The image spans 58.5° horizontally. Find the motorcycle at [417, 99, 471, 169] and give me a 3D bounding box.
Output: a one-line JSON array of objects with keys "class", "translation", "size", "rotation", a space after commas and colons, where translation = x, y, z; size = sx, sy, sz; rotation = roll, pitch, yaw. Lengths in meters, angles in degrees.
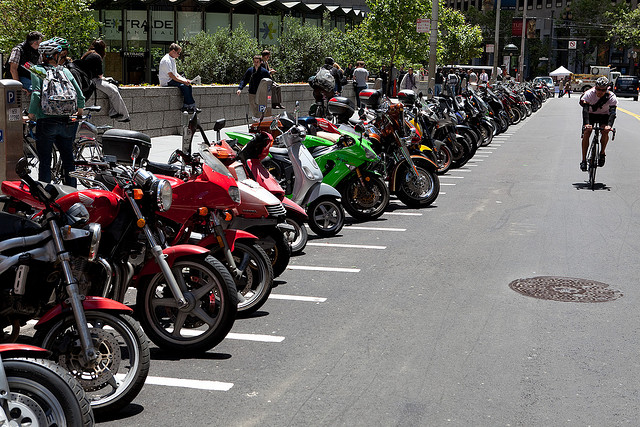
[{"class": "motorcycle", "translation": [3.316, -1.956, 15.244], "size": [1.898, 1.311, 1.145], "rotation": [-2, 19, -5]}]

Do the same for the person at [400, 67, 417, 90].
[{"class": "person", "translation": [4.456, -6.927, 28.984], "size": [0.638, 1.025, 1.230], "rotation": [2, 13, 12]}]

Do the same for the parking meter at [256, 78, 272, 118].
[{"class": "parking meter", "translation": [-1.741, -3.627, 17.741], "size": [0.540, 1.335, 0.264], "rotation": [-16, 40, -27]}]

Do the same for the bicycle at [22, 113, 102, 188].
[{"class": "bicycle", "translation": [-5.002, -1.360, 11.980], "size": [1.081, 1.515, 2.364], "rotation": [0, 6, -35]}]

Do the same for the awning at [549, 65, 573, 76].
[{"class": "awning", "translation": [35.928, -21.508, 86.021], "size": [2.925, 1.363, 3.027], "rotation": [-3, 10, -7]}]

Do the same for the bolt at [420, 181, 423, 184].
[{"class": "bolt", "translation": [1.936, -0.599, 10.929], "size": [0.052, 0.036, 0.028], "rotation": [-10, 22, 10]}]

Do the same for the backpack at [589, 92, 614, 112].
[{"class": "backpack", "translation": [6.782, -2.722, 13.819], "size": [0.451, 0.470, 0.170], "rotation": [6, 13, 27]}]

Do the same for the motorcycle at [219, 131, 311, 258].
[{"class": "motorcycle", "translation": [-0.979, -0.371, 7.647], "size": [1.833, 1.333, 1.030], "rotation": [12, 16, 38]}]

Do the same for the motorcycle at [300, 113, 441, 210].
[{"class": "motorcycle", "translation": [0.884, -1.164, 11.017], "size": [2.690, 1.862, 1.281], "rotation": [4, 2, 12]}]

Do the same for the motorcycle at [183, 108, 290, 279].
[{"class": "motorcycle", "translation": [-1.125, -0.223, 6.970], "size": [0.874, 1.692, 2.277], "rotation": [-17, 12, -36]}]

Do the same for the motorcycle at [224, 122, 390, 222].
[{"class": "motorcycle", "translation": [-0.265, -0.806, 9.766], "size": [2.933, 1.727, 1.206], "rotation": [4, 11, 14]}]

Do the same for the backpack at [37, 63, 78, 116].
[{"class": "backpack", "translation": [-3.756, -1.789, 8.153], "size": [0.474, 0.735, 0.246], "rotation": [-6, 13, -25]}]

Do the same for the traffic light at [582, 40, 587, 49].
[{"class": "traffic light", "translation": [48.375, -31.214, 104.398], "size": [0.734, 1.778, 1.008], "rotation": [-7, -2, 9]}]

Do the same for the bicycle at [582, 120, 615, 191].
[{"class": "bicycle", "translation": [6.867, -1.366, 14.354], "size": [0.637, 1.433, 2.515], "rotation": [12, -2, 25]}]

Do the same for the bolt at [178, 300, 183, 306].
[{"class": "bolt", "translation": [-1.150, 0.739, 4.694], "size": [0.035, 0.030, 0.057], "rotation": [-9, 1, -22]}]

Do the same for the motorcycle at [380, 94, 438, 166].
[{"class": "motorcycle", "translation": [1.788, -1.822, 11.388], "size": [0.679, 0.888, 1.516], "rotation": [-11, -12, 12]}]
